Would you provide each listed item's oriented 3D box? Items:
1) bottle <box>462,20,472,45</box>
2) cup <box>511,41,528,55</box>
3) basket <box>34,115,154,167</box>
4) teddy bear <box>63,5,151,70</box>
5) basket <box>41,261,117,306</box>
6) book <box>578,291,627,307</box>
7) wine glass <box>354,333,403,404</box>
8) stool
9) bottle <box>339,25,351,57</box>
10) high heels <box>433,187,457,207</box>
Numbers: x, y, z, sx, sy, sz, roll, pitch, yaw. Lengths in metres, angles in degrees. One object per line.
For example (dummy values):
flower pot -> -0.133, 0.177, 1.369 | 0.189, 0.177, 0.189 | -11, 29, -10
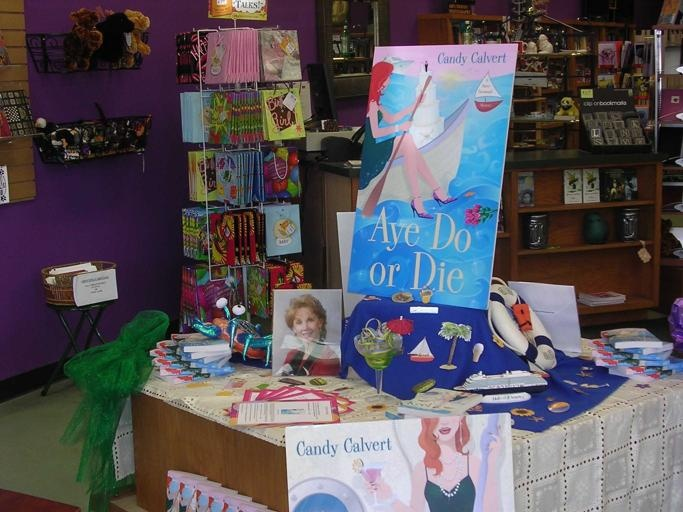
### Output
bottle -> 1.702, -3.072, 7.877 | 0.142, 0.314, 0.375 | 2, 14, 16
cup -> 2.474, -2.902, 8.028 | 0.086, 0.185, 0.533 | 4, 15, 22
basket -> -1.995, -0.948, 4.668 | 0.273, 0.341, 0.939 | 11, 19, 41
teddy bear -> -1.823, -1.712, 4.563 | 0.650, 0.467, 0.359 | -10, 16, -32
basket -> -1.933, 0.197, 4.323 | 0.432, 0.215, 0.332 | -6, 11, -22
book -> 2.260, 0.364, 5.118 | 0.419, 0.089, 0.207 | -5, 15, -16
wine glass -> 0.132, 0.393, 2.121 | 0.211, 0.353, 0.223 | 0, 3, 4
stool -> -2.118, 0.638, 4.646 | 0.577, 0.750, 0.807 | -8, 15, -26
bottle -> 0.050, -2.605, 6.999 | 0.020, 0.353, 0.167 | 9, 17, 39
high heels -> 0.447, -0.256, 2.521 | 0.116, 0.095, 0.051 | 0, 9, 11
